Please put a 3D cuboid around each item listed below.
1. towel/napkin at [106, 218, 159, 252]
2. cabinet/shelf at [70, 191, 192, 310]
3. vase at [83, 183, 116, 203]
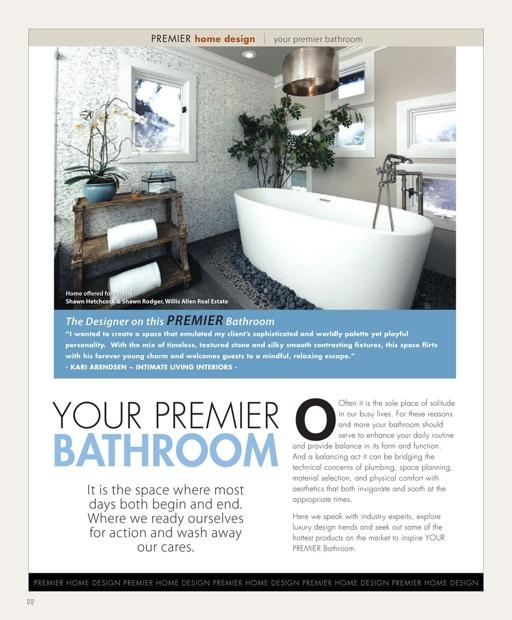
[{"bbox_3d":[-0.426,-0.255,1.718,0.078,0.106,0.197,7,15,43],"label":"towel/napkin"},{"bbox_3d":[-0.404,-0.183,1.571,0.347,0.297,0.170,-12,27,-27],"label":"cabinet/shelf"},{"bbox_3d":[-0.504,-0.381,1.622,0.070,0.046,0.078,-13,19,-38],"label":"vase"}]
